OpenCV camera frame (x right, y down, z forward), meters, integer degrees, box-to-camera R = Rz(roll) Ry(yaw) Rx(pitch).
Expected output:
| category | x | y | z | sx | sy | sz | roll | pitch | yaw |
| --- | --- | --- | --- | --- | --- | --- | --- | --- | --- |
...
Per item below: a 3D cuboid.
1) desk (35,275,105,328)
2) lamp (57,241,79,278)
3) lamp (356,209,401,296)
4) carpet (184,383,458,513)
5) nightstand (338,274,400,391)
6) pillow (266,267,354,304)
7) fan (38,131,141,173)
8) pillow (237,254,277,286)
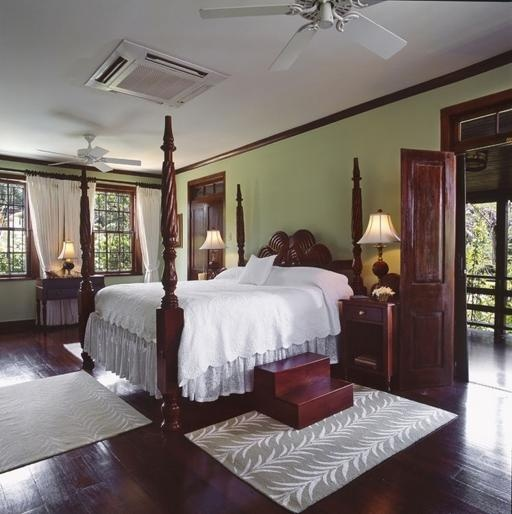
| category | x | y | z | sx | sy | sz | roll | pitch | yaw |
| --- | --- | --- | --- | --- | --- | --- | --- | --- | --- |
| desk | -3.072 | 0.732 | 6.446 | 0.602 | 0.858 | 0.891 | 10 | 7 | 44 |
| lamp | -3.079 | 0.042 | 6.481 | 0.286 | 0.573 | 0.283 | 1 | -1 | -26 |
| lamp | 1.224 | -0.021 | 3.903 | 0.437 | 0.923 | 0.404 | -1 | 1 | 18 |
| carpet | 0.409 | 1.187 | 2.697 | 1.470 | 0.020 | 1.087 | -3 | 2 | -39 |
| nightstand | 1.146 | 0.748 | 3.740 | 0.494 | 0.721 | 0.576 | 2 | -2 | -37 |
| pillow | 0.537 | 0.227 | 4.116 | 0.403 | 0.163 | 0.618 | -4 | 8 | -36 |
| fan | -2.440 | -1.536 | 5.701 | 0.616 | 0.172 | 0.584 | -9 | -16 | 31 |
| pillow | 0.023 | 0.136 | 4.495 | 0.357 | 0.352 | 0.110 | -2 | -34 | 47 |
